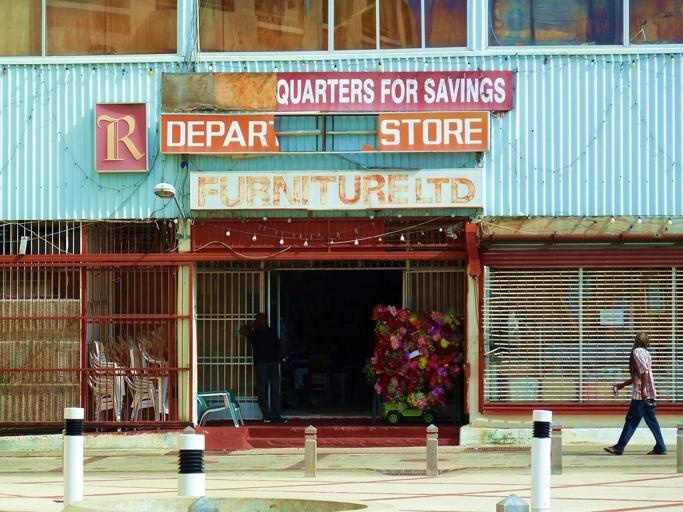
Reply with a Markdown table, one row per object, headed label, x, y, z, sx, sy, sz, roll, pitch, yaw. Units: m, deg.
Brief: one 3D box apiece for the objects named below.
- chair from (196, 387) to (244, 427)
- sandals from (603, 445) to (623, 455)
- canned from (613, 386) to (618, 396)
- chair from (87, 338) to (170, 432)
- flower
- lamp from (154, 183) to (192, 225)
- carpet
| label | x | y | z | sx | sy | sz | roll | pitch | yaw |
| --- | --- | --- | --- | --- | --- | --- | --- | --- | --- |
| chair | -2.585 | 3.186 | 32.863 | 0.974 | 0.736 | 0.892 | 0 | 6 | 6 |
| sandals | 5.222 | 3.756 | 30.042 | 0.386 | 0.166 | 0.150 | 19 | -8 | -18 |
| canned | 5.449 | 2.701 | 31.001 | 0.130 | 0.182 | 0.047 | 0 | 2 | 14 |
| chair | -4.440 | 2.733 | 32.679 | 1.635 | 2.274 | 1.728 | -1 | -3 | 3 |
| flower | 1.626 | 2.159 | 32.810 | 1.885 | 2.271 | 0.527 | -3 | -3 | 6 |
| lamp | -3.475 | -1.150 | 32.230 | 0.659 | 0.804 | 1.361 | -2 | -3 | -4 |
| carpet | -0.958 | 3.748 | 32.253 | 6.817 | 0.589 | 1.479 | -3 | -3 | 1 |
